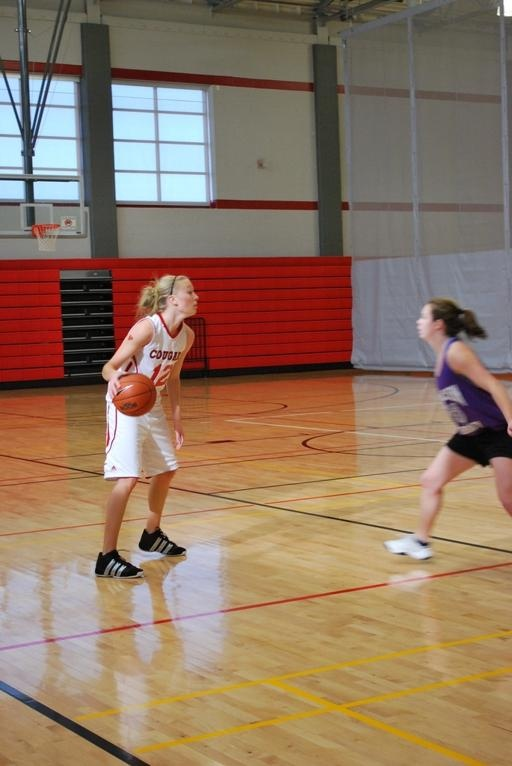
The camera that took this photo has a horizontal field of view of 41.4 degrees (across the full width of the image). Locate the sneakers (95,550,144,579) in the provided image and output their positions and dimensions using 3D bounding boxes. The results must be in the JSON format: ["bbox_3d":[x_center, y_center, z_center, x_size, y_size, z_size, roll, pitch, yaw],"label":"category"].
[{"bbox_3d":[-0.542,0.713,2.680,0.229,0.090,0.080,1,-4,18],"label":"sneakers"}]

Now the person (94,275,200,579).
[{"bbox_3d":[-0.456,0.140,2.805,0.434,1.239,0.551,-1,-1,-9],"label":"person"}]

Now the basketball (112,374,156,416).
[{"bbox_3d":[-0.462,0.044,2.615,0.165,0.160,0.141,-8,23,-30],"label":"basketball"}]

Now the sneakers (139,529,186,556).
[{"bbox_3d":[-0.381,0.699,3.022,0.271,0.110,0.083,5,0,9],"label":"sneakers"}]
